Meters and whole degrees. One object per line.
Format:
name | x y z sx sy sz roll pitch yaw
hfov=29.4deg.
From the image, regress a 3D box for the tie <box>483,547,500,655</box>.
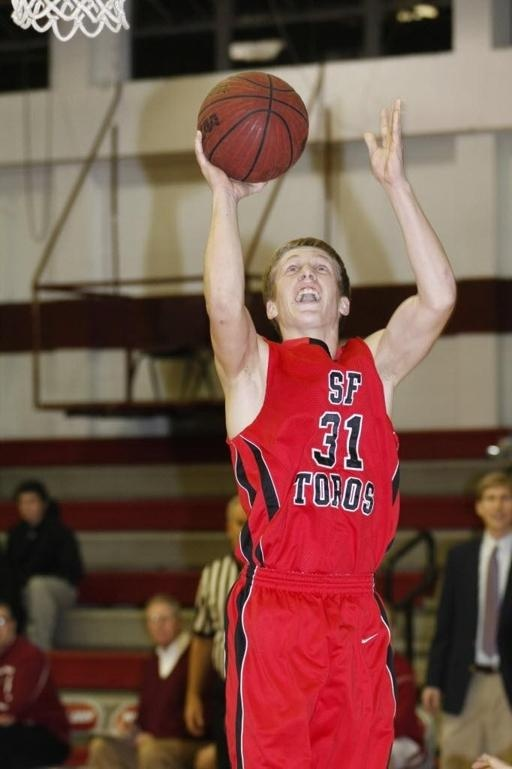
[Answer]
tie | 0.903 0.796 3.668 0.053 0.494 0.057 -16 -41 36
